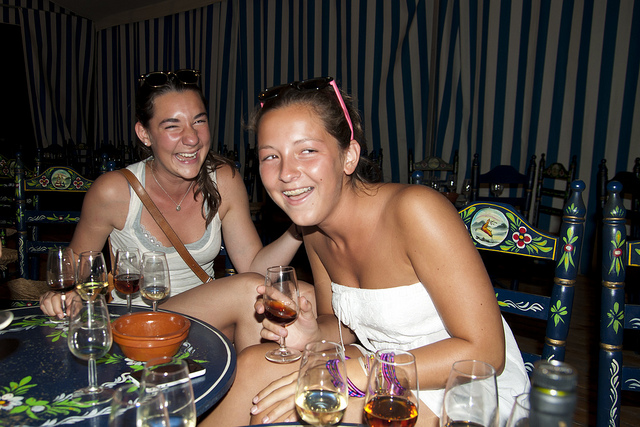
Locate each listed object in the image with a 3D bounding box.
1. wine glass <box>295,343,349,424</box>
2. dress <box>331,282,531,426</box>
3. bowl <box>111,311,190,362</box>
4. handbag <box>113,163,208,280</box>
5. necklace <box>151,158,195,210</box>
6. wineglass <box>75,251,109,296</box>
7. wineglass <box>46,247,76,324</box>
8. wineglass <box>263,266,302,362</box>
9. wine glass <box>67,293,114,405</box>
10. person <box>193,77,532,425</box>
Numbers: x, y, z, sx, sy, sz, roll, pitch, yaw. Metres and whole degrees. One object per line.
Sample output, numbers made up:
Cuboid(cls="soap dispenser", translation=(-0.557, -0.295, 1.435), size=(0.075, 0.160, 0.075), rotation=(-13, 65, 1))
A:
Cuboid(cls="wine glass", translation=(0.008, 0.578, 1.643), size=(0.190, 0.442, 0.238), rotation=(0, 4, 3))
Cuboid(cls="dress", translation=(0.604, 0.496, 2.309), size=(0.522, 0.818, 0.807), rotation=(-32, 28, -32))
Cuboid(cls="bowl", translation=(-0.706, 0.508, 1.905), size=(0.337, 0.162, 0.225), rotation=(0, 7, 20))
Cuboid(cls="handbag", translation=(-0.993, 0.047, 2.786), size=(0.086, 0.826, 0.090), rotation=(-34, 4, 5))
Cuboid(cls="necklace", translation=(-0.957, -0.194, 2.940), size=(0.276, 0.327, 0.057), rotation=(-2, 6, 3))
Cuboid(cls="wineglass", translation=(-1.125, 0.372, 2.244), size=(0.142, 0.378, 0.134), rotation=(0, 3, -25))
Cuboid(cls="wineglass", translation=(-1.240, 0.333, 2.186), size=(0.126, 0.320, 0.289), rotation=(-6, 7, -30))
Cuboid(cls="wineglass", translation=(-0.181, 0.467, 2.184), size=(0.176, 0.424, 0.277), rotation=(-3, 6, -4))
Cuboid(cls="wine glass", translation=(-0.855, 0.503, 1.687), size=(0.147, 0.367, 0.158), rotation=(-5, 7, -25))
Cuboid(cls="person", translation=(0.185, 0.139, 1.999), size=(1.326, 1.546, 1.087), rotation=(1, 7, 27))
